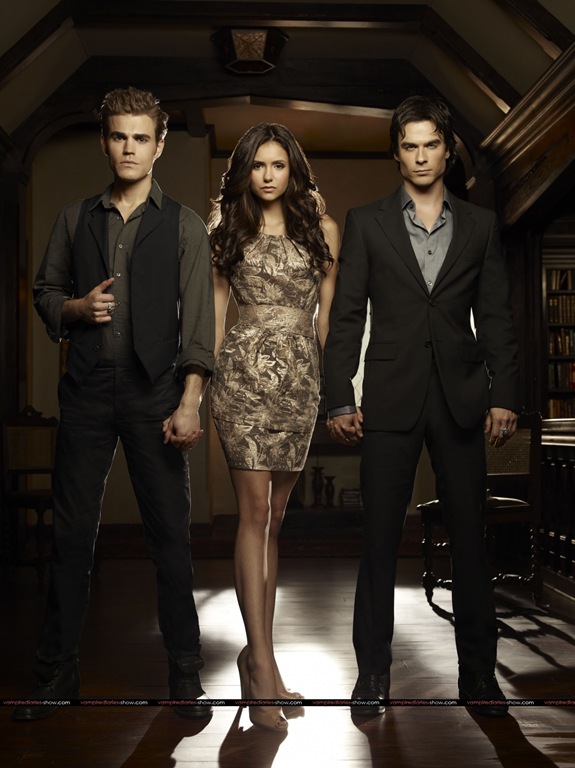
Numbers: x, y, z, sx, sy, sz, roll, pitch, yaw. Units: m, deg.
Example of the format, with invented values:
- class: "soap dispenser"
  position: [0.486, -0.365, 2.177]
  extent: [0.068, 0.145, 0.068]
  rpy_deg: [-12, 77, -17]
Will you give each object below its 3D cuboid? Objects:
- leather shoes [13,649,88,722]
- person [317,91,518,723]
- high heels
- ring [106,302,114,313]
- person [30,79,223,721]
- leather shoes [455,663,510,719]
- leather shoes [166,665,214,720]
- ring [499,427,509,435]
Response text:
- class: "leather shoes"
  position: [-0.624, 0.792, 1.766]
  extent: [0.083, 0.132, 0.244]
  rpy_deg: [-1, -11, 19]
- class: "person"
  position: [0.349, 0.062, 1.789]
  extent: [0.506, 1.612, 0.245]
  rpy_deg: [-1, -3, 2]
- class: "high heels"
  position: [-0.044, 0.797, 1.787]
  extent: [0.098, 0.123, 0.312]
  rpy_deg: [0, -13, -17]
- class: "ring"
  position: [-0.435, -0.187, 1.676]
  extent: [0.014, 0.027, 0.094]
  rpy_deg: [0, -3, -14]
- class: "person"
  position: [-0.438, 0.054, 1.733]
  extent: [0.504, 1.605, 0.321]
  rpy_deg: [-1, -3, -1]
- class: "leather shoes"
  position: [0.501, 0.793, 1.746]
  extent: [0.074, 0.087, 0.207]
  rpy_deg: [0, -13, -5]
- class: "leather shoes"
  position: [-0.252, 0.789, 1.726]
  extent: [0.066, 0.119, 0.174]
  rpy_deg: [6, -15, -22]
- class: "ring"
  position: [0.556, 0.124, 1.748]
  extent: [0.020, 0.019, 0.012]
  rpy_deg: [0, 12, -44]
